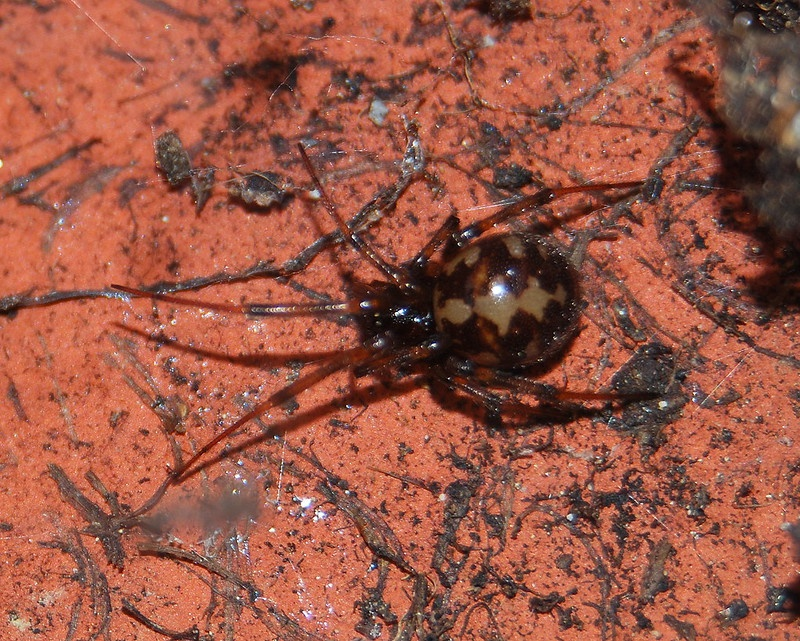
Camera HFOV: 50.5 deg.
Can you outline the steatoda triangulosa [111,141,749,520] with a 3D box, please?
[{"bbox_3d":[0.178,-0.012,3.626,2.111,0.438,1.381,-7,-94,6],"label":"steatoda triangulosa"}]
